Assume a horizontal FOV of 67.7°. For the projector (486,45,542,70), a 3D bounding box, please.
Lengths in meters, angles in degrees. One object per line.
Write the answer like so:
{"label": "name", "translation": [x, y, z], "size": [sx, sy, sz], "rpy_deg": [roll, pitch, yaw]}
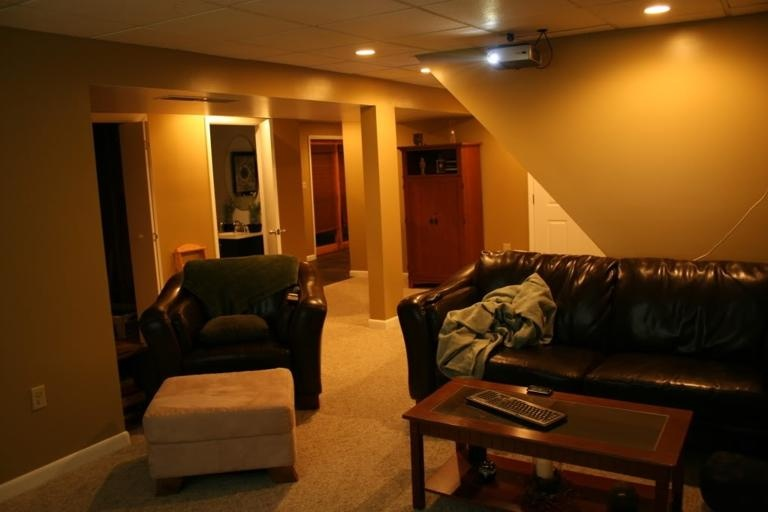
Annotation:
{"label": "projector", "translation": [1.110, -1.726, 4.985], "size": [0.311, 0.105, 0.238], "rpy_deg": [4, 9, 31]}

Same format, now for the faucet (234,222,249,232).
{"label": "faucet", "translation": [-1.988, -0.404, 7.971], "size": [0.181, 0.185, 0.140], "rpy_deg": [-3, 11, -6]}

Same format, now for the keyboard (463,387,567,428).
{"label": "keyboard", "translation": [0.775, 0.902, 3.361], "size": [0.424, 0.042, 0.195], "rpy_deg": [6, 10, 44]}

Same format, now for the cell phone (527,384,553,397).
{"label": "cell phone", "translation": [0.983, 0.856, 3.609], "size": [0.099, 0.022, 0.099], "rpy_deg": [1, 0, 28]}

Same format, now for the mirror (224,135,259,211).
{"label": "mirror", "translation": [-2.038, -1.135, 8.230], "size": [0.439, 0.924, 0.418], "rpy_deg": [-7, 14, -14]}
